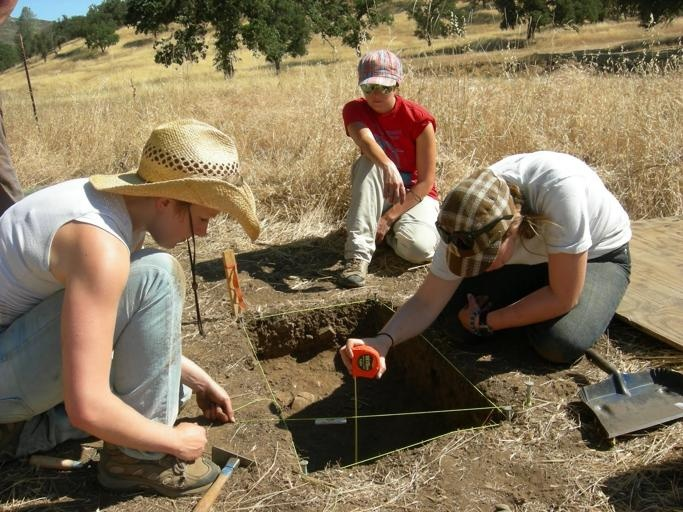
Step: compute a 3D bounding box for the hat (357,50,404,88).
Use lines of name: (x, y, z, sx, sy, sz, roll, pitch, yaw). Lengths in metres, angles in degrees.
hat: (0.274, -1.388, 4.538, 0.322, 0.258, 0.278, -3, 22, 2)

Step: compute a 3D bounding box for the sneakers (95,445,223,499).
sneakers: (-0.889, 1.038, 2.914, 0.553, 0.154, 0.197, 0, 27, 2)

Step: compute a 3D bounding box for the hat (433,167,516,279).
hat: (0.662, -0.170, 3.154, 0.406, 0.546, 0.291, 10, -11, 40)

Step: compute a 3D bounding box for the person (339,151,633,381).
person: (0.860, 0.076, 3.561, 1.868, 1.172, 1.007, -28, 28, -21)

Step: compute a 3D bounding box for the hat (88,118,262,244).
hat: (-0.757, -0.414, 2.832, 0.680, 0.579, 0.452, -3, 22, -33)

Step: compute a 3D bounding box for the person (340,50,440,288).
person: (0.372, -0.748, 4.679, 0.803, 1.565, 1.236, 2, 30, 7)
